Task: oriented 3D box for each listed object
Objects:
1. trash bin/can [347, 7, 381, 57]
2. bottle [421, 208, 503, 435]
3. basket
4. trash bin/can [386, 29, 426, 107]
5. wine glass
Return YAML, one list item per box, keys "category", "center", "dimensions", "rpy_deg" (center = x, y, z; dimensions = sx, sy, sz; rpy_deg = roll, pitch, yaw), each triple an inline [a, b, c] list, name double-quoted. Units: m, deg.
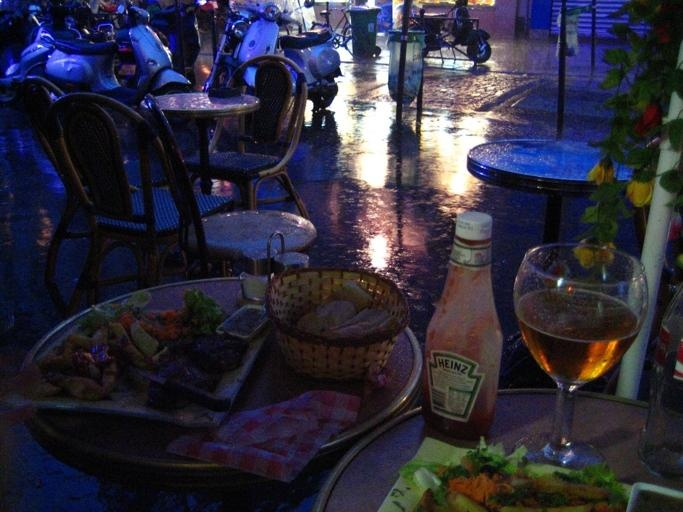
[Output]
- category: "trash bin/can"
  center: [0.572, -5.427, 13.247]
  dimensions: [0.715, 1.200, 1.150]
  rpy_deg: [1, 20, 3]
- category: "bottle"
  center: [0.210, 0.108, 0.846]
  dimensions: [0.157, 0.369, 0.114]
  rpy_deg: [-3, 20, -9]
- category: "basket"
  center: [-0.004, 0.094, 1.114]
  dimensions: [0.219, 0.099, 0.255]
  rpy_deg: [1, 21, -5]
- category: "trash bin/can"
  center: [0.891, -2.618, 7.626]
  dimensions: [0.475, 1.020, 1.128]
  rpy_deg: [2, 20, 5]
- category: "wine glass"
  center: [0.337, 0.144, 0.809]
  dimensions: [0.173, 0.297, 0.179]
  rpy_deg: [12, 23, 29]
